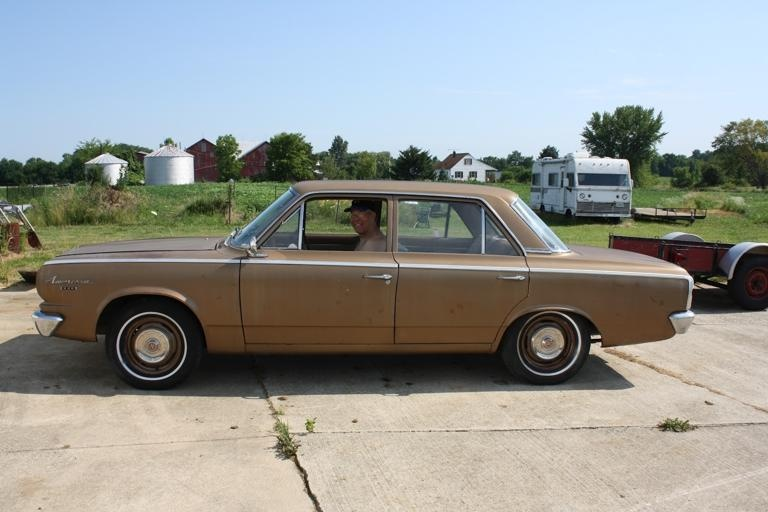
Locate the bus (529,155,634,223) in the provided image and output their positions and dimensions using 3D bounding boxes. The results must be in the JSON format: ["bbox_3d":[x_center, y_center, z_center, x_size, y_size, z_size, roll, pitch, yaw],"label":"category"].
[{"bbox_3d":[9.476,-3.398,29.103,2.912,3.088,6.369,-1,8,-6],"label":"bus"}]

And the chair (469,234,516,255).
[{"bbox_3d":[1.233,-0.127,6.647,0.363,0.135,0.264,14,4,3],"label":"chair"}]
